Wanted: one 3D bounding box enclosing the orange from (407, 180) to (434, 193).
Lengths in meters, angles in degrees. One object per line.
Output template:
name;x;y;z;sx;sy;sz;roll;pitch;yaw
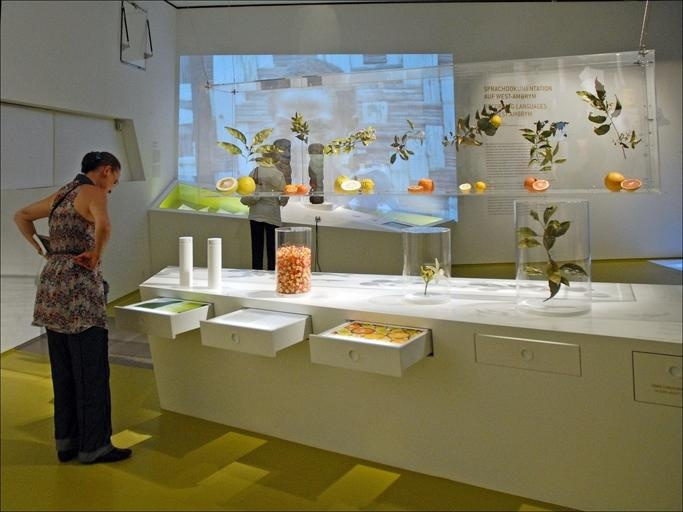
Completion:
orange;0.478;-0.429;2.917;0.126;0.070;0.075;-5;10;-13

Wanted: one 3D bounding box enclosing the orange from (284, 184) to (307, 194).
orange;-0.279;-0.432;3.089;0.074;0.036;0.092;-2;2;-36

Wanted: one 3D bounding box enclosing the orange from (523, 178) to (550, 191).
orange;1.100;-0.412;2.749;0.092;0.056;0.091;-21;25;-14

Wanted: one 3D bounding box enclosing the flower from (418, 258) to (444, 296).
flower;0.475;0.110;2.666;0.135;0.103;0.128;-20;27;-24

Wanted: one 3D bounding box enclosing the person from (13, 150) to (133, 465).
person;-1.483;0.282;2.815;0.642;1.718;0.630;-11;15;-22

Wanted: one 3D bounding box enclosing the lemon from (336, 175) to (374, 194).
lemon;0.081;-0.448;3.000;0.180;0.059;0.107;2;5;7

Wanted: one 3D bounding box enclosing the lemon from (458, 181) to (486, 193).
lemon;0.751;-0.407;2.815;0.113;0.056;0.064;2;7;17

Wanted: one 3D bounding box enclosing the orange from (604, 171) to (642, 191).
orange;1.512;-0.414;2.632;0.159;0.087;0.088;4;14;44

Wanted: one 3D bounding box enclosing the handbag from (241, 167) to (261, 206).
handbag;-0.690;-0.577;3.973;0.137;0.261;0.213;5;2;2

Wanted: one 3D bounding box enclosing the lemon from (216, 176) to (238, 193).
lemon;-0.739;-0.472;3.185;0.153;0.102;0.046;2;16;26

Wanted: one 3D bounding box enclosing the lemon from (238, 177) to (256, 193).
lemon;-0.609;-0.465;3.203;0.110;0.108;0.125;-1;-28;1
